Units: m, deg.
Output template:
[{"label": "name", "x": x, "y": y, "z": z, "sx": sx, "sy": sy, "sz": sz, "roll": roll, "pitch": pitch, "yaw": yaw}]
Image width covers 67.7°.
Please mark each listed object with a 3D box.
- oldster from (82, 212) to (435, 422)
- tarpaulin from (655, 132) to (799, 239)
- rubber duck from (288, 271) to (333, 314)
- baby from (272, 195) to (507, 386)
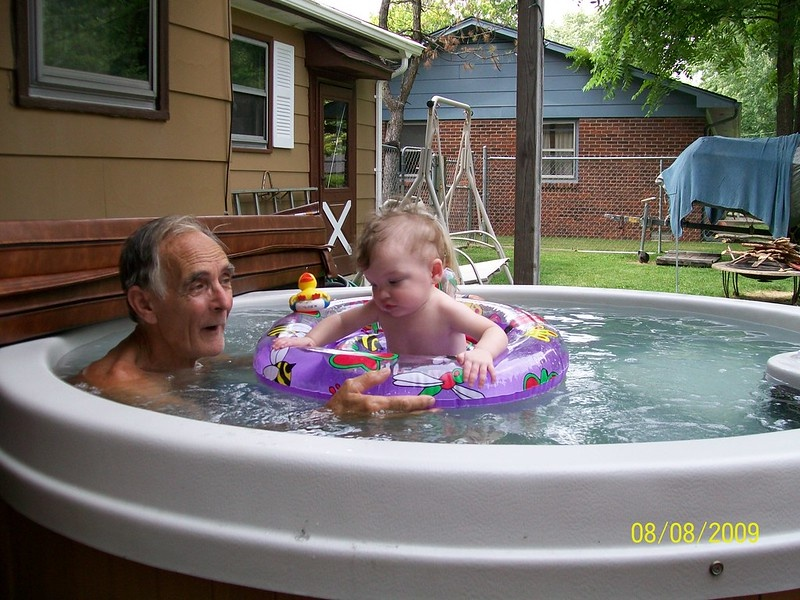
[{"label": "oldster", "x": -0.588, "y": 0.054, "z": 2.024, "sx": 0.942, "sy": 0.535, "sz": 0.753, "roll": 5, "pitch": 9, "yaw": 35}, {"label": "tarpaulin", "x": 4.254, "y": -1.622, "z": 7.781, "sx": 1.645, "sy": 0.981, "sz": 1.289, "roll": 11, "pitch": 35, "yaw": 22}, {"label": "rubber duck", "x": -0.419, "y": -0.042, "z": 2.947, "sx": 0.250, "sy": 0.274, "sz": 0.171, "roll": -2, "pitch": -21, "yaw": -5}, {"label": "baby", "x": 0.021, "y": -0.025, "z": 2.590, "sx": 0.891, "sy": 1.004, "sz": 0.676, "roll": -6, "pitch": -2, "yaw": 38}]
